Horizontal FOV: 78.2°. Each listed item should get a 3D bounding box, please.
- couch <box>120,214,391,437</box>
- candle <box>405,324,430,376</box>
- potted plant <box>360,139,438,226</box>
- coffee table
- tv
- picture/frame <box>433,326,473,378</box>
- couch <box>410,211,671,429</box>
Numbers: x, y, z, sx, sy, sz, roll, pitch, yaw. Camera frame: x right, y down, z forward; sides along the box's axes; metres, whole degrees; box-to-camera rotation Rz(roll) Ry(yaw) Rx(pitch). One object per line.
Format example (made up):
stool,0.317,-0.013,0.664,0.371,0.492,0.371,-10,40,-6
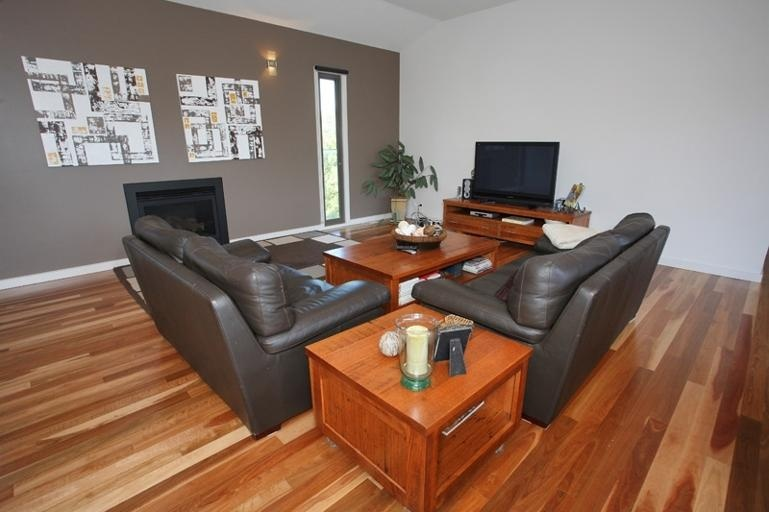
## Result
couch,-1.225,0.373,4.253,1.382,1.299,2.329,-18,27,-39
candle,0.208,0.612,3.039,0.156,0.286,0.139,1,19,4
potted plant,0.183,-1.312,8.279,1.348,1.143,1.312,-6,22,-15
coffee table,0.097,-0.021,4.570,1.364,0.640,0.847,-16,30,-34
tv,1.826,-1.118,6.428,0.911,0.656,0.281,15,23,40
picture/frame,0.433,0.628,3.113,0.297,0.291,0.167,-3,21,-6
couch,1.544,0.317,4.340,1.426,1.219,2.446,16,26,41
